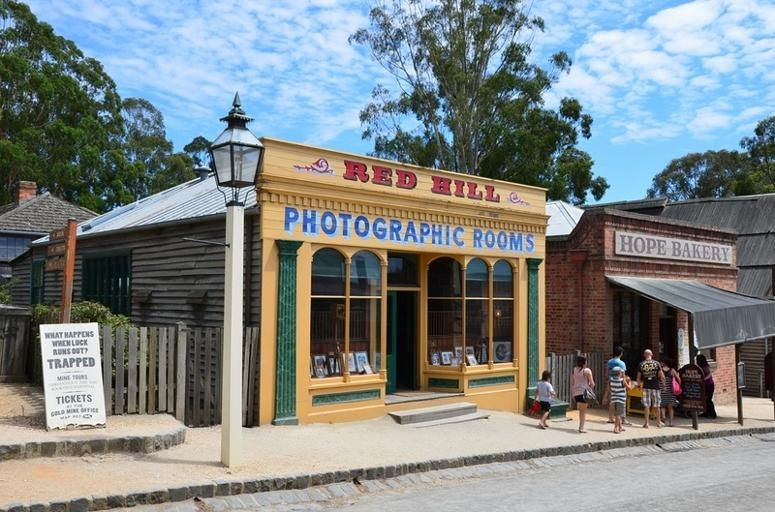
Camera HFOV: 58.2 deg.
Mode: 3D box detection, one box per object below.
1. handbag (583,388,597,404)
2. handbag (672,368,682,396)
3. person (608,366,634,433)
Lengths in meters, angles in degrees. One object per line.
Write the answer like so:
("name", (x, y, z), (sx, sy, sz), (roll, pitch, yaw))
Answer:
("handbag", (5.565, 3.837, 19.140), (0.328, 0.432, 0.818), (8, 7, 19))
("handbag", (8.785, 3.854, 21.167), (0.291, 0.836, 0.732), (-4, -11, 19))
("person", (6.410, 4.010, 19.429), (0.551, 1.788, 1.228), (8, 7, 19))
